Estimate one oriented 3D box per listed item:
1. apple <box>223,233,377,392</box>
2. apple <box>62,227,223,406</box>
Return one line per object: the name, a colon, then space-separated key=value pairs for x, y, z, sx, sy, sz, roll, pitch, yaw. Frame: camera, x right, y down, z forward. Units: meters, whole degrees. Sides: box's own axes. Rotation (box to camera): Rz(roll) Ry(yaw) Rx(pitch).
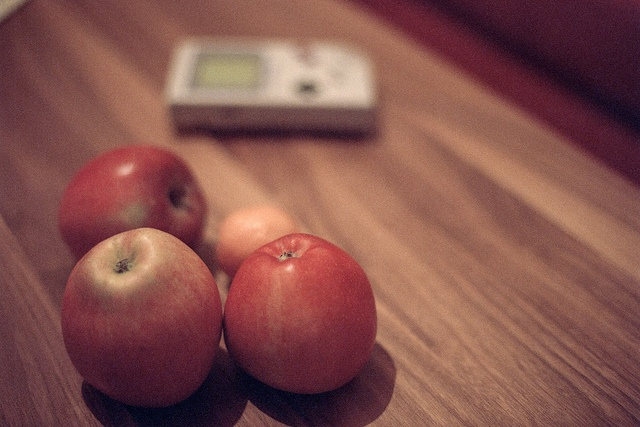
apple: x=-0.023 y=0.136 z=0.912 sx=0.182 sy=0.196 sz=0.187 roll=-2 pitch=17 yaw=-4
apple: x=-0.185 y=0.140 z=0.890 sx=0.188 sy=0.246 sz=0.211 roll=6 pitch=38 yaw=8
